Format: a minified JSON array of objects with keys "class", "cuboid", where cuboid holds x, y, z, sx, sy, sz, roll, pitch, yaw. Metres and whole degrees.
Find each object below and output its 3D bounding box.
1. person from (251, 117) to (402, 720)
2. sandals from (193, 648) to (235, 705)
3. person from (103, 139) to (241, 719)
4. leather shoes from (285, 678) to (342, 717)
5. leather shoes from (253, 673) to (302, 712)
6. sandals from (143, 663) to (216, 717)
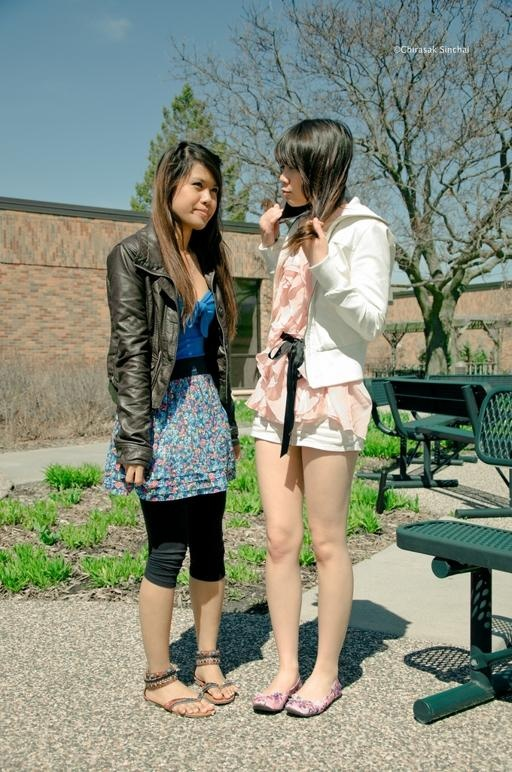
[{"class":"person","cuboid":[0.179,0.083,2.416,0.490,1.918,0.446,1,4,24]},{"class":"sandals","cuboid":[-0.152,0.997,2.489,0.082,0.085,0.210,-2,-8,-21]},{"class":"person","cuboid":[-0.248,0.119,2.435,0.362,1.869,0.592,2,4,30]},{"class":"leather shoes","cuboid":[0.179,1.016,2.343,0.068,0.070,0.191,-7,-18,35]},{"class":"leather shoes","cuboid":[0.070,1.004,2.359,0.058,0.059,0.156,-6,-11,31]},{"class":"sandals","cuboid":[-0.268,0.978,2.390,0.266,0.100,0.113,4,11,43]}]
